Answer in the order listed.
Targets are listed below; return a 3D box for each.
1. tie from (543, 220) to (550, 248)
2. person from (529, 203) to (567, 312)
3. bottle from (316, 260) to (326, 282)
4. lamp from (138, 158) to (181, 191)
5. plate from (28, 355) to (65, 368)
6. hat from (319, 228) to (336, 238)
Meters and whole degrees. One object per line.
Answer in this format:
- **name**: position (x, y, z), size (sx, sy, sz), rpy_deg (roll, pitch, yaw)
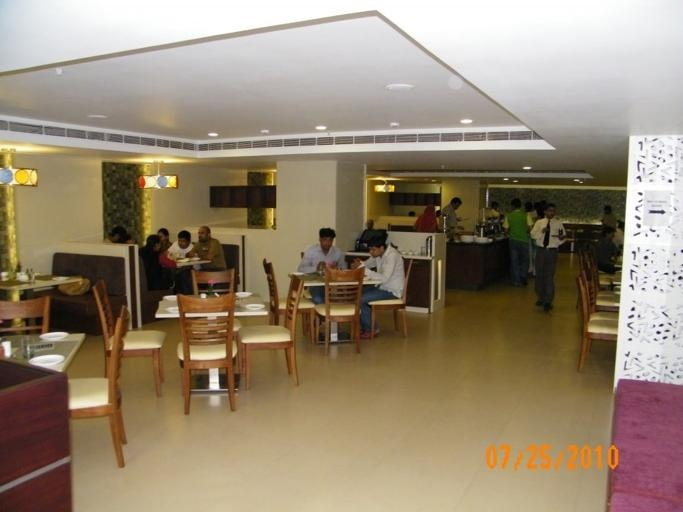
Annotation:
- **tie**: position (3.472, -0.356, 8.542), size (0.098, 0.425, 0.045), rpy_deg (7, 11, 37)
- **person**: position (3.558, 0.016, 8.781), size (0.531, 1.849, 0.588), rpy_deg (3, 9, 20)
- **bottle**: position (-0.263, 0.184, 6.872), size (0.186, 0.209, 0.212), rpy_deg (0, -2, 4)
- **lamp**: position (-3.329, -1.375, 9.172), size (0.663, 0.634, 0.666), rpy_deg (4, 4, 45)
- **plate**: position (-2.102, 0.751, 3.613), size (0.224, 0.035, 0.238), rpy_deg (-4, 9, -29)
- **hat**: position (-0.191, -0.309, 6.849), size (0.143, 0.102, 0.165), rpy_deg (0, 2, 0)
